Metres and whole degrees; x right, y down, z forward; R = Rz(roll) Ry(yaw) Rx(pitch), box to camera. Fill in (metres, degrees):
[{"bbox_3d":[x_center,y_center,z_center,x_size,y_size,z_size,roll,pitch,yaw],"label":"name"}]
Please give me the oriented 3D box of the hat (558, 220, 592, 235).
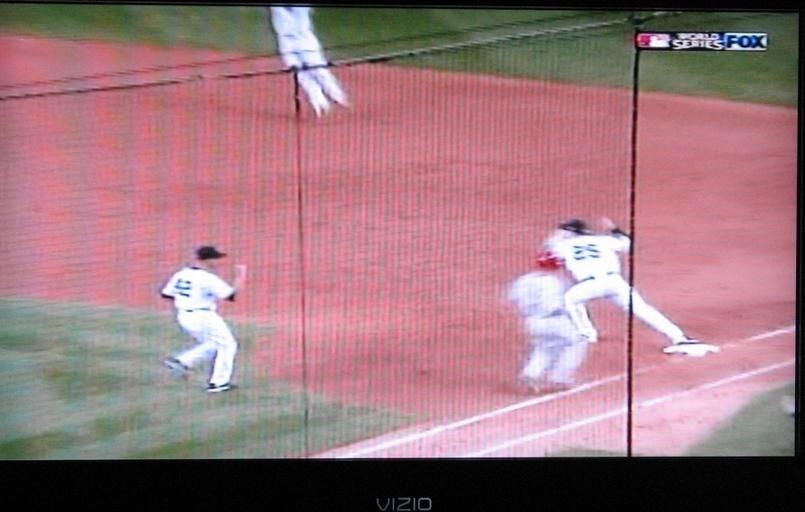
[{"bbox_3d":[1.051,-0.184,7.518,0.151,0.091,0.032,3,-8,-3],"label":"hat"}]
